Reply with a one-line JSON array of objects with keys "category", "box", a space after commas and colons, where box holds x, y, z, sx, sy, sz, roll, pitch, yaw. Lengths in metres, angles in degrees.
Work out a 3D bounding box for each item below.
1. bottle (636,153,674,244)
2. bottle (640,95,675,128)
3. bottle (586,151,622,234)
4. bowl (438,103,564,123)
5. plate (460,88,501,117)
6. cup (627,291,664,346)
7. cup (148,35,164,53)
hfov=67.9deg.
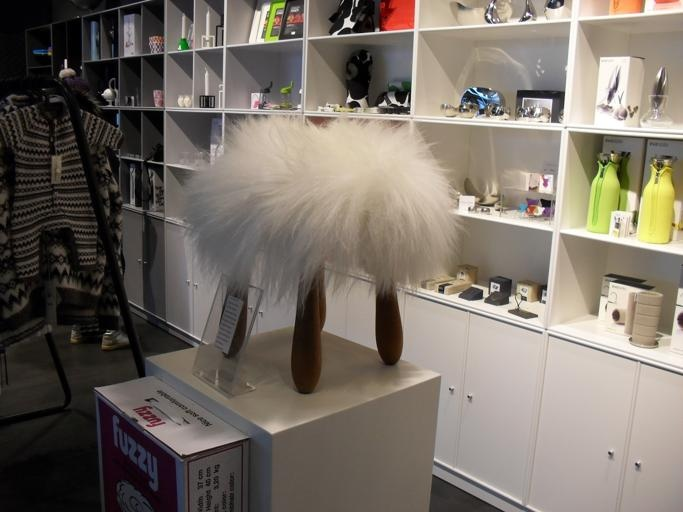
[{"category": "bottle", "box": [1.471, -0.253, 2.356, 0.139, 0.391, 0.119, -11, 16, -35]}, {"category": "bottle", "box": [1.439, -0.642, 2.332, 0.131, 0.160, 0.144, 0, 7, 9]}, {"category": "bottle", "box": [1.315, -0.307, 2.513, 0.142, 0.377, 0.117, 2, 14, 13]}, {"category": "bowl", "box": [0.875, -0.785, 2.796, 0.659, 0.095, 0.189, 11, 22, 37]}, {"category": "plate", "box": [0.786, -0.874, 2.869, 0.145, 0.090, 0.234, 6, 19, 5]}, {"category": "cup", "box": [1.475, 0.302, 2.451, 0.127, 0.247, 0.211, 7, 17, 32]}, {"category": "cup", "box": [-1.745, -1.946, 4.764, 0.145, 0.158, 0.177, -1, 0, -8]}]
